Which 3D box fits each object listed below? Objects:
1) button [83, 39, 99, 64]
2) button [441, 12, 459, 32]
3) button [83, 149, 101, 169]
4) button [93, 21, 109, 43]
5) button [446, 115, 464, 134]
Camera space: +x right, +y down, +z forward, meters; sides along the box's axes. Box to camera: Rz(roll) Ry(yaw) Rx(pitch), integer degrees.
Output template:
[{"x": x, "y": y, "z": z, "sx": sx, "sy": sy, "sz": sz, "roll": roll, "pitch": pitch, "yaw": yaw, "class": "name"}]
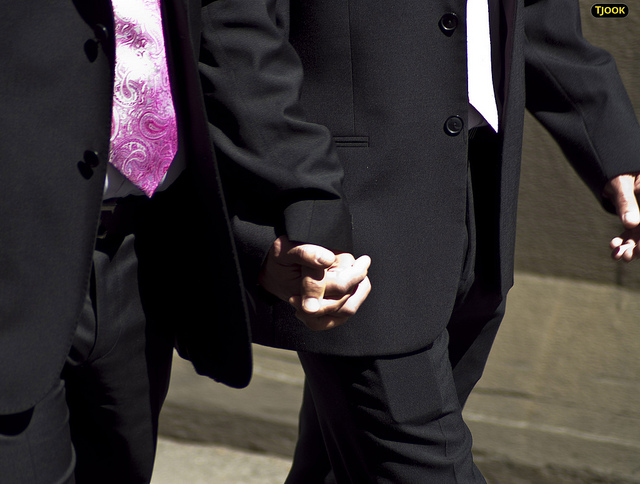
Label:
[{"x": -0.443, "y": -0.371, "z": 1.400, "sx": 0.014, "sy": 0.044, "sz": 0.027, "roll": 15, "pitch": 29, "yaw": 39, "class": "button"}, {"x": 0.297, "y": -0.505, "z": 1.655, "sx": 0.038, "sy": 0.042, "sz": 0.017, "roll": 0, "pitch": 22, "yaw": 7, "class": "button"}, {"x": -0.444, "y": -0.160, "z": 1.400, "sx": 0.029, "sy": 0.034, "sz": 0.008, "roll": -14, "pitch": -1, "yaw": -8, "class": "button"}, {"x": -0.427, "y": -0.407, "z": 1.397, "sx": 0.037, "sy": 0.034, "sz": 0.008, "roll": -3, "pitch": 5, "yaw": -2, "class": "button"}, {"x": 0.311, "y": -0.270, "z": 1.666, "sx": 0.042, "sy": 0.038, "sz": 0.012, "roll": -2, "pitch": -1, "yaw": -10, "class": "button"}]
